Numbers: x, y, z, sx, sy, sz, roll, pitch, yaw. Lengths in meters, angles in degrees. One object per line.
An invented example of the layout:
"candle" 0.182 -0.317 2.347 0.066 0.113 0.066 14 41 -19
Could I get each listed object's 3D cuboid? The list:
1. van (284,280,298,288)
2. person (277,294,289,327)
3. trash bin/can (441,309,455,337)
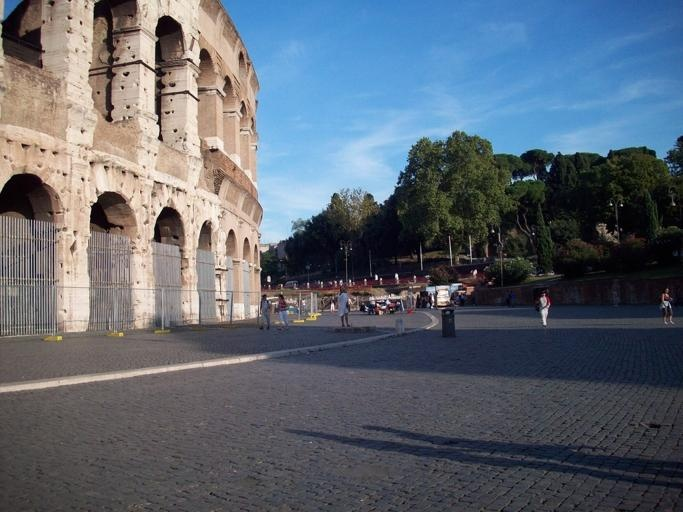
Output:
"van" -10.059 5.441 113.333 1.625 1.649 2.876 -3 -10 29
"person" -2.731 2.535 26.529 0.360 1.450 1.217 -1 -6 -8
"trash bin/can" 3.531 2.253 19.035 0.396 0.895 0.800 -3 -6 12
